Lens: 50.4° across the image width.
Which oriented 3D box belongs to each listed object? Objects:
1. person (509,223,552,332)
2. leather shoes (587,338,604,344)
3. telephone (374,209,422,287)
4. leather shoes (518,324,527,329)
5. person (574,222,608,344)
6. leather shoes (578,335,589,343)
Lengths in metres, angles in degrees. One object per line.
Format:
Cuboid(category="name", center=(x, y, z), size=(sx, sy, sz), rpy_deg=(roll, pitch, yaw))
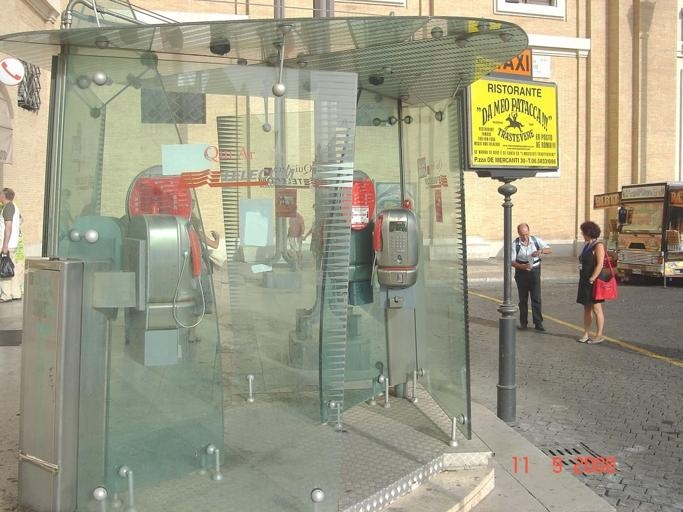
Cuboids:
Cuboid(category="person", center=(3.240, 0.319, 12.286), size=(0.671, 1.774, 1.313), rpy_deg=(6, 7, 14))
Cuboid(category="leather shoes", center=(3.900, 1.279, 10.933), size=(0.261, 0.097, 0.094), rpy_deg=(3, -4, -29))
Cuboid(category="telephone", center=(0.517, -0.064, 6.920), size=(0.468, 0.753, 0.416), rpy_deg=(-1, 0, -9))
Cuboid(category="leather shoes", center=(3.081, 1.186, 12.125), size=(0.058, 0.100, 0.111), rpy_deg=(-1, -10, -27))
Cuboid(category="person", center=(3.822, 0.405, 10.899), size=(0.499, 1.837, 0.696), rpy_deg=(7, 7, 22))
Cuboid(category="leather shoes", center=(3.731, 1.266, 11.005), size=(0.177, 0.073, 0.067), rpy_deg=(-1, 1, -6))
